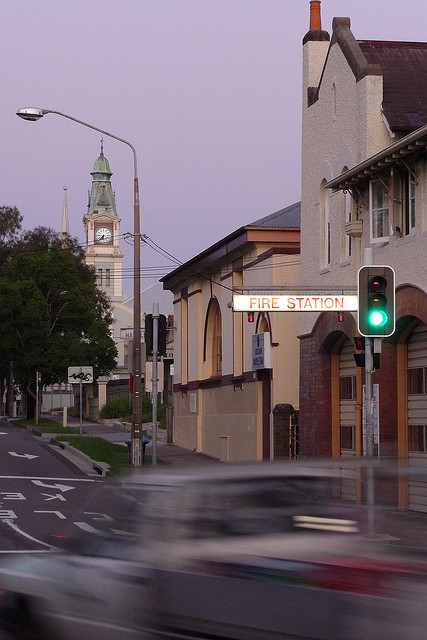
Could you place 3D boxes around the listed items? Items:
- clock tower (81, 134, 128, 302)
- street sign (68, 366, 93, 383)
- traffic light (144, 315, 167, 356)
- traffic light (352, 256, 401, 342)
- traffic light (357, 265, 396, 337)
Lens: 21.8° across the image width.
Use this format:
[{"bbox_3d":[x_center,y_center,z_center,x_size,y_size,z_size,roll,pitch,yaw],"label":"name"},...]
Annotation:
[{"bbox_3d":[-11.941,-8.117,119.524,3.039,22.782,2.022,3,-1,-25],"label":"clock tower"},{"bbox_3d":[-4.296,1.737,35.679,0.549,0.444,0.077,1,-4,-13],"label":"street sign"},{"bbox_3d":[-1.128,0.353,21.365,0.370,0.909,0.094,2,13,3],"label":"traffic light"},{"bbox_3d":[2.042,-0.255,13.708,0.470,0.817,0.484,-10,12,-25],"label":"traffic light"},{"bbox_3d":[2.007,-0.207,13.821,0.368,1.030,0.334,0,-4,0],"label":"traffic light"}]
